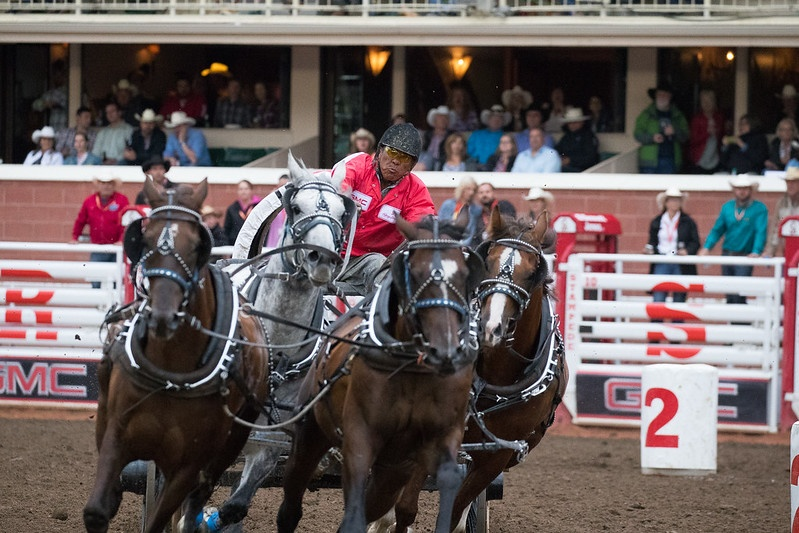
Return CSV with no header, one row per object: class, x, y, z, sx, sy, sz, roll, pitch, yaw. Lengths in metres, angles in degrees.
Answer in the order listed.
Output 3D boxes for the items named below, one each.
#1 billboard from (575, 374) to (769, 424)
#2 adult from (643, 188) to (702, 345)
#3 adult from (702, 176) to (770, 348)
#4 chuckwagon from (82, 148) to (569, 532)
billboard,4.122,1.975,32.615,3.058,0.920,0.419,3,2,-15
adult,4.294,-0.375,33.539,0.848,1.635,1.770,2,6,7
adult,5.377,-0.524,33.955,0.958,1.781,1.811,2,6,10
chuckwagon,0.650,0.761,30.584,3.679,4.002,6.522,1,12,7
